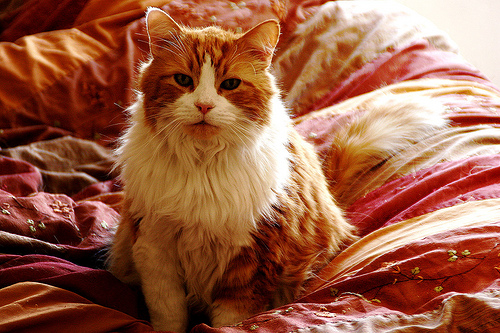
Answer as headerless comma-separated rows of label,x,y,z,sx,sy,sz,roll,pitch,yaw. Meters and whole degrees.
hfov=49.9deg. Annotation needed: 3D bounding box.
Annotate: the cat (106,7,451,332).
cat,-0.002,-0.002,2.726,1.545,1.359,1.098,-3,5,-44
